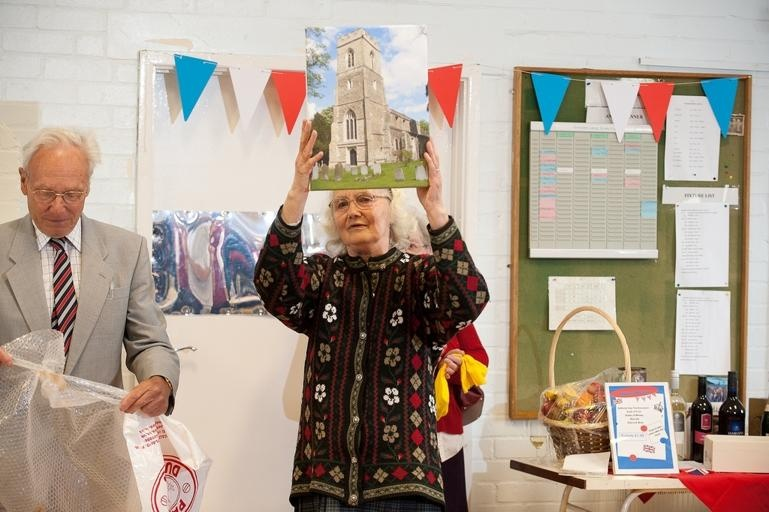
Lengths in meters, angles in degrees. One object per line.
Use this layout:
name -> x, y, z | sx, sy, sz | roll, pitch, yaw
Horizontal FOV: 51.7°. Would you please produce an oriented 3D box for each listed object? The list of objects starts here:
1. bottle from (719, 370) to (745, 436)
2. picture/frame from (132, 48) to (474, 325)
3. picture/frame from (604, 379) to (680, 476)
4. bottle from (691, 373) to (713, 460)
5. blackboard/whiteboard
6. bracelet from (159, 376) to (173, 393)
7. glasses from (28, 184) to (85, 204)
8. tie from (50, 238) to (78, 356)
bottle -> 1.632, 0.685, 3.727 | 0.109, 0.294, 0.246 | 1, -2, 23
picture/frame -> -0.439, -0.301, 3.432 | 1.307, 1.561, 0.118 | 2, -1, -8
picture/frame -> 1.085, 0.742, 3.380 | 0.354, 0.464, 0.033 | -5, -8, -5
bottle -> 1.487, 0.759, 3.718 | 0.102, 0.381, 0.421 | 1, -2, 22
blackboard/whiteboard -> 1.192, -0.058, 4.003 | 1.759, 2.376, 0.090 | 1, -2, -11
bracelet -> -0.835, 0.492, 3.045 | 0.044, 0.059, 0.057 | -11, 21, -28
glasses -> -1.262, -0.232, 3.075 | 0.195, 0.062, 0.067 | 3, -2, -26
tie -> -1.253, 0.144, 3.092 | 0.092, 0.520, 0.059 | -8, -22, -6
